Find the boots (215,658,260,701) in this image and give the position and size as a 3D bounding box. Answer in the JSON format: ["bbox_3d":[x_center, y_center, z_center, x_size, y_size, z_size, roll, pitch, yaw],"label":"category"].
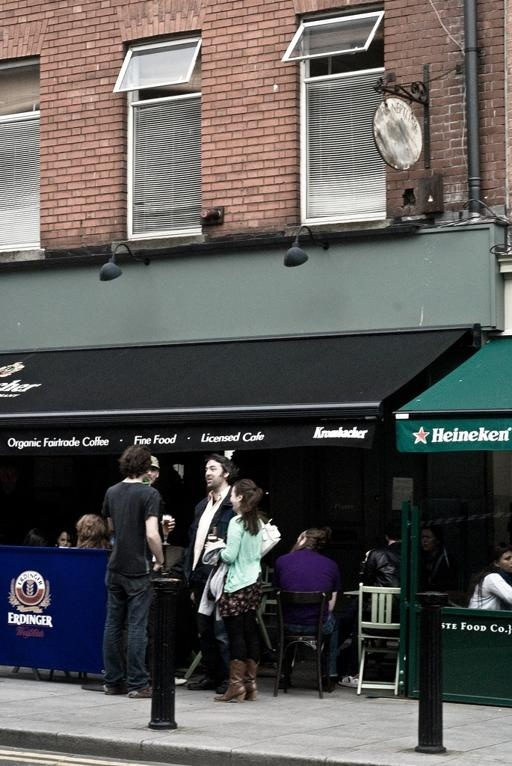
[{"bbox_3d":[-0.103,2.233,11.016,0.315,0.339,0.353,-2,-5,18],"label":"boots"}]

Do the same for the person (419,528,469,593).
[{"bbox_3d":[1.540,1.510,11.673,0.409,0.704,0.631,0,-4,7],"label":"person"}]

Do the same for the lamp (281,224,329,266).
[{"bbox_3d":[0.368,-1.217,13.008,0.218,0.381,0.701,-4,5,26],"label":"lamp"}]

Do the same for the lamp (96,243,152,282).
[{"bbox_3d":[-1.375,-1.181,13.984,0.257,0.432,0.758,-5,6,35],"label":"lamp"}]

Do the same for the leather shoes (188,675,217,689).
[{"bbox_3d":[-0.437,2.425,11.631,0.278,0.122,0.110,4,-4,-5],"label":"leather shoes"}]

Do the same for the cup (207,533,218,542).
[{"bbox_3d":[-0.333,1.203,11.207,0.071,0.034,0.089,-1,-7,10],"label":"cup"}]

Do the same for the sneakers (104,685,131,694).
[{"bbox_3d":[-1.076,2.376,11.203,0.203,0.086,0.073,1,0,-29],"label":"sneakers"}]

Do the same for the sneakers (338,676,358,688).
[{"bbox_3d":[0.782,2.496,12.033,0.160,0.073,0.062,-2,-10,38],"label":"sneakers"}]

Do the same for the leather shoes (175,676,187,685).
[{"bbox_3d":[-0.627,2.466,11.918,0.053,0.062,0.155,-2,-13,-20],"label":"leather shoes"}]
